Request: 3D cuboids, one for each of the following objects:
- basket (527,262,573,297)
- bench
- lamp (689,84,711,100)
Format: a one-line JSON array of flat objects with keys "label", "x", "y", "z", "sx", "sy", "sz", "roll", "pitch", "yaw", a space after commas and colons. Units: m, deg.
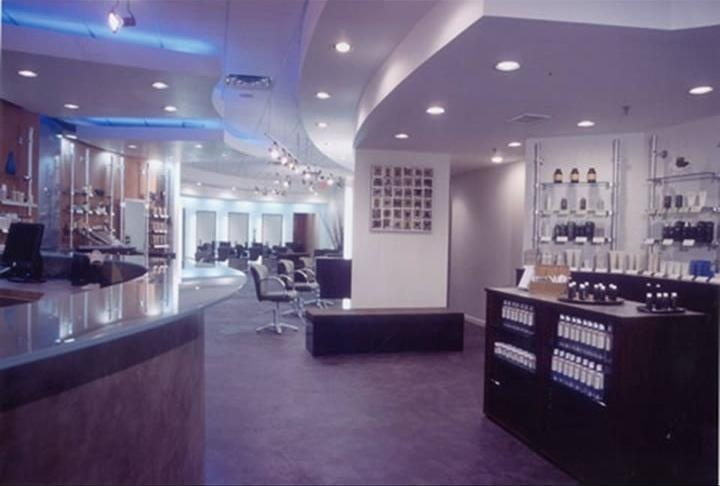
[{"label": "basket", "x": 1.878, "y": 0.356, "z": 5.148, "sx": 0.393, "sy": 0.375, "sz": 0.295, "roll": 1, "pitch": -2, "yaw": 25}, {"label": "bench", "x": 0.406, "y": 1.266, "z": 7.446, "sx": 2.232, "sy": 0.633, "sz": 0.271, "roll": -2, "pitch": 10, "yaw": -13}, {"label": "lamp", "x": 3.609, "y": -1.622, "z": 5.514, "sx": 0.346, "sy": 0.088, "sz": 0.090, "roll": -15, "pitch": 31, "yaw": -36}]
